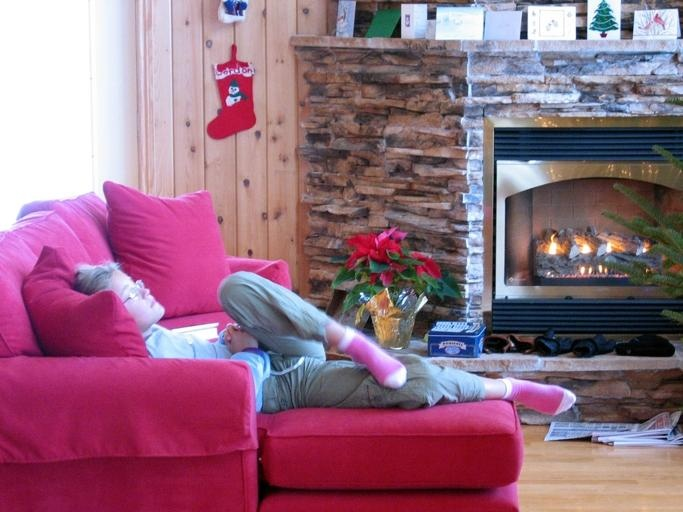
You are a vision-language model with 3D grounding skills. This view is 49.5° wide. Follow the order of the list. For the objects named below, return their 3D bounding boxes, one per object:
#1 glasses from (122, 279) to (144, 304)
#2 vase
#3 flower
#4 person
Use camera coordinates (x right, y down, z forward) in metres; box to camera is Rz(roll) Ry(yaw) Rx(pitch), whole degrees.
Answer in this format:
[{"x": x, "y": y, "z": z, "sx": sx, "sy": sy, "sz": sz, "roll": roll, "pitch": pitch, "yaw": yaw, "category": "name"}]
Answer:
[{"x": -0.702, "y": 0.120, "z": 2.495, "sx": 0.064, "sy": 0.019, "sz": 0.062, "roll": -27, "pitch": 3, "yaw": 21, "category": "glasses"}, {"x": 0.255, "y": 0.270, "z": 3.456, "sx": 0.311, "sy": 0.249, "sz": 0.281, "roll": 0, "pitch": 1, "yaw": -1, "category": "vase"}, {"x": 0.216, "y": 0.112, "z": 3.387, "sx": 0.469, "sy": 0.287, "sz": 0.474, "roll": 5, "pitch": -12, "yaw": -39, "category": "flower"}, {"x": -0.019, "y": 0.297, "z": 2.665, "sx": 1.806, "sy": 0.589, "sz": 0.472, "roll": 2, "pitch": 20, "yaw": -2, "category": "person"}]
